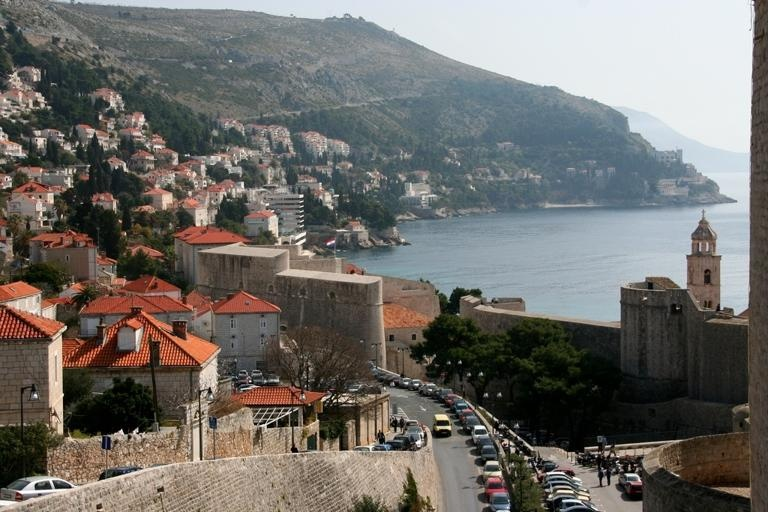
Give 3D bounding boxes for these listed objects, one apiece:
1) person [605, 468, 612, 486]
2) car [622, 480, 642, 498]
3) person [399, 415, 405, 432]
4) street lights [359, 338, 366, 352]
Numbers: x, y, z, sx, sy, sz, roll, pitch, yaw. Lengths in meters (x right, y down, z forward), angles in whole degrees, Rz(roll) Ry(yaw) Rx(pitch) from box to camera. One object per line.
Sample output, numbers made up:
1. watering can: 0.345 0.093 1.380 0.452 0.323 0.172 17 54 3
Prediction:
1. person: 18.811 18.480 123.667 0.393 1.321 1.236 0 -2 7
2. car: 20.463 19.182 121.562 1.770 1.426 1.021 -1 -2 26
3. person: 1.817 14.891 130.282 0.519 0.816 0.356 -2 -10 -3
4. street lights: -1.936 8.757 145.084 0.587 1.165 0.658 0 -2 -2
